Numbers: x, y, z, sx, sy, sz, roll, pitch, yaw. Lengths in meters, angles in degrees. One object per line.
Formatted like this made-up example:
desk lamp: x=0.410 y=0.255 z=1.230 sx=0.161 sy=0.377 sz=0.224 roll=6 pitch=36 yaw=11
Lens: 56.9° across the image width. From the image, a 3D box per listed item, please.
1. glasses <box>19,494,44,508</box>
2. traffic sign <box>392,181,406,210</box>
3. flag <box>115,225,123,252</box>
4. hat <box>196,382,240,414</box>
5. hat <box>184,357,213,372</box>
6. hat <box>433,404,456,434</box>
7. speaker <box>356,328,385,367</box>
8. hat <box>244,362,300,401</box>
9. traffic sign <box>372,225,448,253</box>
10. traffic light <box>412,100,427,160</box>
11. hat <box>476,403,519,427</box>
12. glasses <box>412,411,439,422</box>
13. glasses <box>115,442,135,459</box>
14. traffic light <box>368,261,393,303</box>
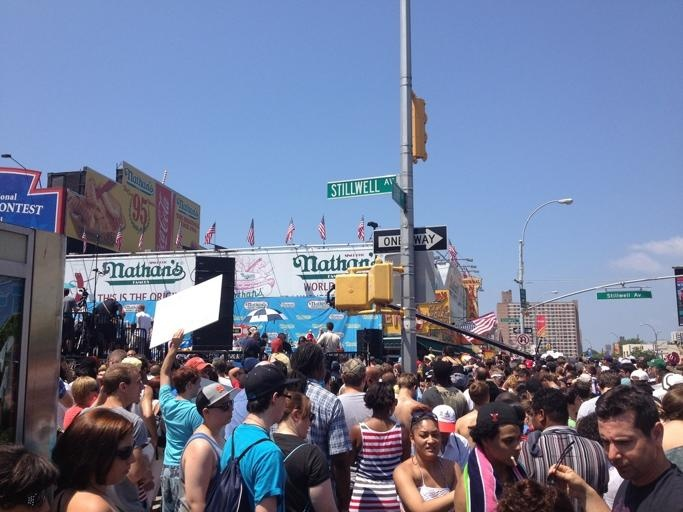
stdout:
glasses: x=-1.903 y=1.504 z=3.893 sx=0.062 sy=0.053 sz=0.084 roll=-7 pitch=-23 yaw=-24
traffic sign: x=0.886 y=-0.928 z=9.647 sx=0.169 sy=0.467 sz=0.460 roll=-1 pitch=-5 yaw=20
flag: x=-14.085 y=-1.155 z=39.893 sx=0.344 sy=1.683 sz=3.879 roll=2 pitch=-5 yaw=-20
hat: x=-1.122 y=1.284 z=5.633 sx=0.308 sy=0.187 sz=0.230 roll=-20 pitch=2 yaw=-4
hat: x=-1.906 y=1.414 z=8.318 sx=0.424 sy=0.253 sz=0.319 roll=-1 pitch=-8 yaw=-3
hat: x=1.097 y=1.721 z=6.700 sx=0.233 sy=0.205 sz=0.393 roll=4 pitch=-10 yaw=3
speaker: x=0.807 y=2.462 z=17.526 sx=0.662 sy=1.200 sz=0.677 roll=-5 pitch=-23 yaw=-5
hat: x=-0.594 y=1.015 z=5.247 sx=0.511 sy=0.301 sz=0.332 roll=-1 pitch=-5 yaw=-38
traffic sign: x=1.066 y=-0.241 z=9.872 sx=1.258 sy=0.372 sz=0.434 roll=-4 pitch=-6 yaw=37
traffic light: x=1.228 y=-2.022 z=10.029 sx=0.206 sy=1.060 sz=0.333 roll=0 pitch=-5 yaw=6
hat: x=1.264 y=1.266 z=5.057 sx=0.256 sy=0.094 sz=0.197 roll=-3 pitch=-4 yaw=-18
glasses: x=0.772 y=1.489 z=5.872 sx=0.187 sy=0.102 sz=0.254 roll=1 pitch=-16 yaw=-3
glasses: x=-1.547 y=1.398 z=4.516 sx=0.030 sy=0.105 sz=0.153 roll=-2 pitch=-6 yaw=28
traffic light: x=0.598 y=0.418 z=9.537 sx=0.476 sy=0.726 sz=0.361 roll=-6 pitch=-10 yaw=44
